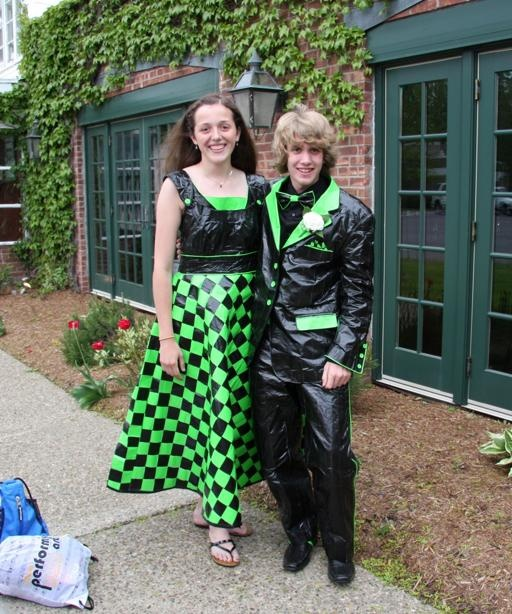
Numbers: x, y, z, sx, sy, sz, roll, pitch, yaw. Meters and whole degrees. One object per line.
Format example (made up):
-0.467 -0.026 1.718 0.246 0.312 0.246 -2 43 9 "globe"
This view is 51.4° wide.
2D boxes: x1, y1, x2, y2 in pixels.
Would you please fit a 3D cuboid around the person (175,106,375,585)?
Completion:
0.175 0.133 1.714 0.249 1.509 0.369 -8 7 -40 "person"

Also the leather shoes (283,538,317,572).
0.146 0.843 1.810 0.051 0.056 0.138 -1 -1 21 "leather shoes"

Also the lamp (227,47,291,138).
-0.015 -1.596 3.942 0.456 0.515 0.370 -8 16 -18 "lamp"

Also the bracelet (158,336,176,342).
-0.308 0.111 1.821 0.052 0.024 0.037 -4 5 -7 "bracelet"

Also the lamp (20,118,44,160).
-3.672 -2.709 8.693 0.207 0.581 0.594 -7 7 -33 "lamp"
